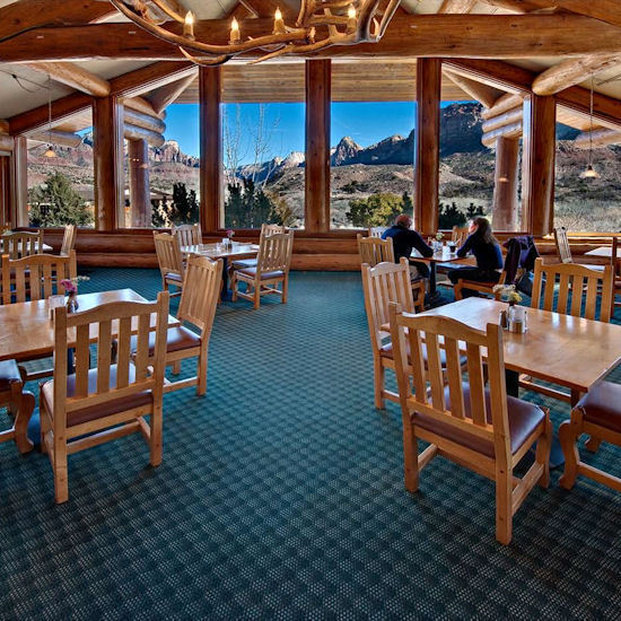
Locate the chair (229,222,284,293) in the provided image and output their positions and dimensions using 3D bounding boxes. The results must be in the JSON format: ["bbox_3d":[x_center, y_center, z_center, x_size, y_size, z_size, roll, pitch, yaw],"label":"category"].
[{"bbox_3d":[-0.657,-0.550,6.118,0.673,1.062,0.630,-14,18,-36],"label":"chair"}]

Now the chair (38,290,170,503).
[{"bbox_3d":[-0.985,0.327,2.360,0.627,0.906,0.745,-8,17,-30],"label":"chair"}]

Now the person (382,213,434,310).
[{"bbox_3d":[1.195,-0.615,5.786,0.769,1.137,0.588,-12,20,-25],"label":"person"}]

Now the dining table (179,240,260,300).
[{"bbox_3d":[-1.136,-0.477,6.243,0.940,0.545,0.947,10,14,35],"label":"dining table"}]

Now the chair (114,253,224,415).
[{"bbox_3d":[-0.933,0.096,3.107,0.561,0.863,0.529,-8,19,-43],"label":"chair"}]

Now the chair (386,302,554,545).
[{"bbox_3d":[0.717,0.398,2.109,0.545,0.894,0.553,8,21,40],"label":"chair"}]

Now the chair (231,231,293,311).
[{"bbox_3d":[-0.600,-0.538,5.899,0.593,0.851,0.629,-8,17,-36],"label":"chair"}]
